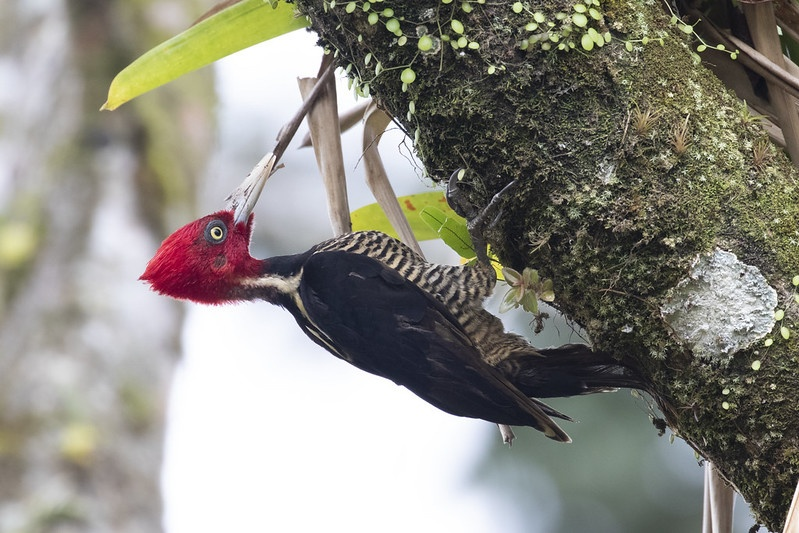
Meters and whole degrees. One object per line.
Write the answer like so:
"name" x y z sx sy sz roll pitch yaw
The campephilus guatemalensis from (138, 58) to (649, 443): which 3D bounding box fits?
"campephilus guatemalensis" 0.018 0.032 4.383 1.825 1.334 0.518 8 14 16
